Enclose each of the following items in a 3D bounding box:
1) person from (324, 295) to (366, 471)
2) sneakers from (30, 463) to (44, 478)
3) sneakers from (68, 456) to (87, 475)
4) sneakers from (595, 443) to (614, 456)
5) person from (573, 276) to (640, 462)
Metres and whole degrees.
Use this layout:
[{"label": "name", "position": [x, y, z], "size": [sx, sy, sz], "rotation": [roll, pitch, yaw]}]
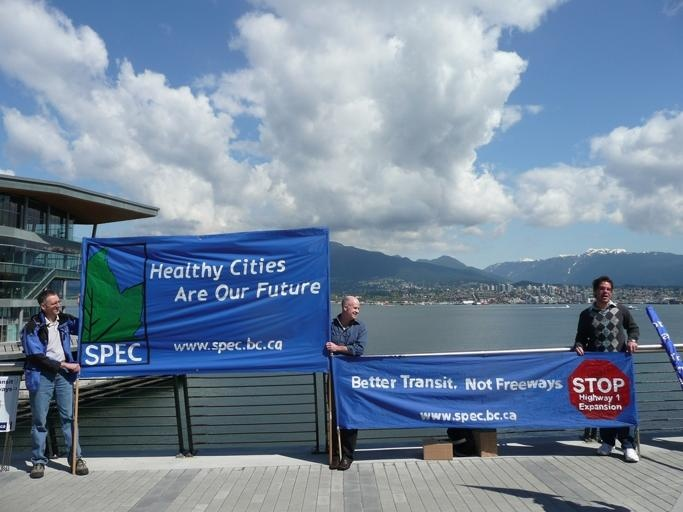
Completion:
[{"label": "person", "position": [0.079, 2.141, 10.746], "size": [0.697, 2.865, 0.765], "rotation": [-2, -7, 5]}, {"label": "sneakers", "position": [-5.072, 3.576, 10.363], "size": [0.116, 0.139, 0.327], "rotation": [2, -5, -12]}, {"label": "sneakers", "position": [-4.406, 3.534, 10.500], "size": [0.260, 0.288, 0.226], "rotation": [2, -8, -25]}, {"label": "sneakers", "position": [4.476, 3.300, 10.622], "size": [0.135, 0.174, 0.408], "rotation": [-29, -43, 30]}, {"label": "person", "position": [4.627, 1.907, 10.798], "size": [1.002, 3.130, 0.856], "rotation": [-6, -8, 33]}]
